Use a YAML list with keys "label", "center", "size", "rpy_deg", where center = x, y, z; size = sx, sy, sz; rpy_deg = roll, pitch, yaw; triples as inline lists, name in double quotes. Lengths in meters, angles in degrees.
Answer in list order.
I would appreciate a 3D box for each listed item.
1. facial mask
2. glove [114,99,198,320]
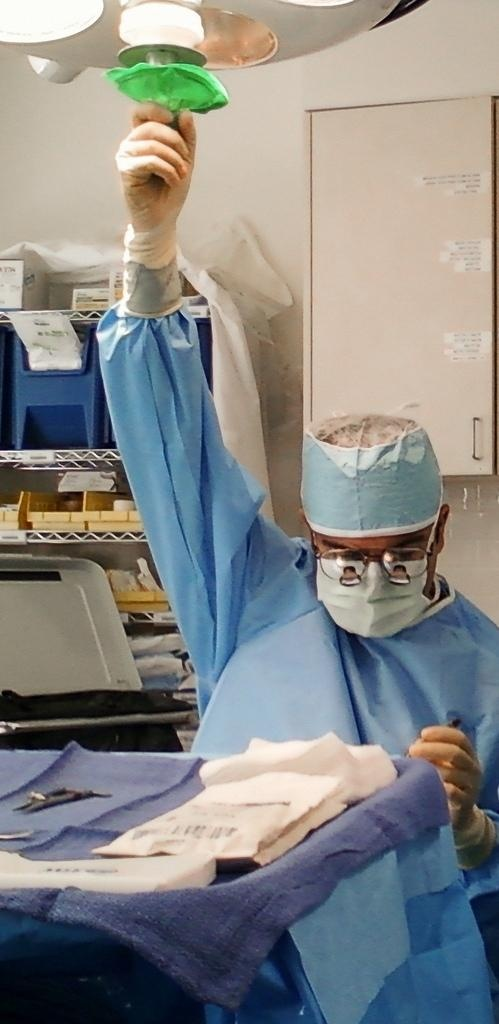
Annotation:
- label: "facial mask"
  center: [0.201, 0.085, 1.349]
  size: [0.177, 0.184, 0.154]
  rpy_deg: [-1, 8, 19]
- label: "glove"
  center: [-0.116, -0.367, 1.057]
  size: [0.090, 0.133, 0.440]
  rpy_deg: [-1, -5, -8]
